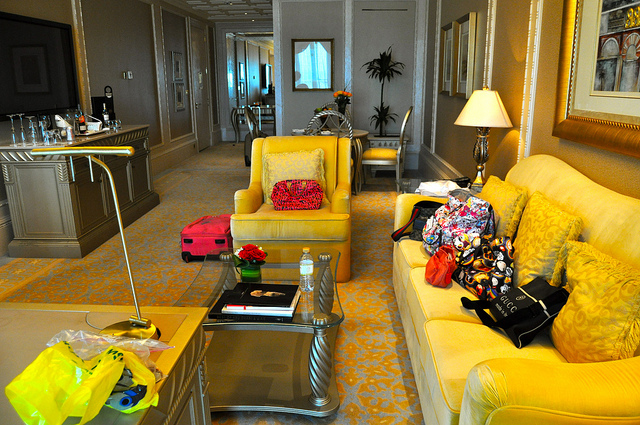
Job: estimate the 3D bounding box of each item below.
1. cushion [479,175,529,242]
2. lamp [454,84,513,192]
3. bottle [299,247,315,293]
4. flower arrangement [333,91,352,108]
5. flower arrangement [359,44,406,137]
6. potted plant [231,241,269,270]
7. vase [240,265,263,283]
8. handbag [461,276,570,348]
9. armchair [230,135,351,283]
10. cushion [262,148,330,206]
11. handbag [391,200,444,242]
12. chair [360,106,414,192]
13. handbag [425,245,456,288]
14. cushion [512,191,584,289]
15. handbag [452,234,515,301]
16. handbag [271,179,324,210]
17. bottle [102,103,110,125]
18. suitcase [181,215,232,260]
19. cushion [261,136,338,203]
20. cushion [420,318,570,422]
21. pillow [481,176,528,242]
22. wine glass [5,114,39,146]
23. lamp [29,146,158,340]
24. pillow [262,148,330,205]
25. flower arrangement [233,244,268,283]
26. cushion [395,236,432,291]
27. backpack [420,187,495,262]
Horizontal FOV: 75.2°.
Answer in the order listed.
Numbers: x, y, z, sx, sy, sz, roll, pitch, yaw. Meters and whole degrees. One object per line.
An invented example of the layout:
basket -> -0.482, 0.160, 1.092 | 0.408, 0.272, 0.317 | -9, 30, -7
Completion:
cushion -> 1.268, -0.056, 2.959 | 0.172, 0.366, 0.459 | -3, 23, -5
lamp -> 1.411, -0.632, 3.631 | 0.548, 0.912, 0.519 | 2, 7, -8
bottle -> -0.086, 0.373, 2.841 | 0.104, 0.200, 0.363 | 4, 13, -3
flower arrangement -> 0.365, -1.886, 6.917 | 0.255, 0.260, 0.258 | 0, 7, 8
flower arrangement -> 1.080, -2.224, 7.520 | 0.619, 1.589, 0.541 | 15, 17, 38
potted plant -> -0.464, 0.323, 2.871 | 0.265, 0.181, 0.212 | 0, 18, 44
vase -> -0.472, 0.421, 2.904 | 0.123, 0.124, 0.124 | 1, 14, 2
handbag -> 1.096, 0.501, 2.240 | 0.548, 0.140, 0.538 | -37, 20, -30
armchair -> -0.232, -0.086, 4.085 | 0.999, 1.298, 1.285 | 0, 11, 0
cushion -> -0.251, -0.435, 4.225 | 0.766, 0.691, 0.263 | 0, 21, 2
handbag -> 0.752, 0.059, 3.344 | 0.373, 0.346, 0.262 | 0, 22, -1
chair -> 1.019, -1.016, 6.586 | 0.797, 1.195, 0.718 | 1, 16, 8
handbag -> 0.771, 0.326, 2.660 | 0.094, 0.236, 0.188 | 20, -27, -16
cushion -> 1.331, 0.183, 2.495 | 0.256, 0.480, 0.530 | -1, 13, 10
handbag -> 1.009, 0.347, 2.557 | 0.162, 0.255, 0.300 | 17, 6, -15
handbag -> -0.211, -0.175, 4.000 | 0.334, 0.123, 0.329 | -1, 23, 0
bottle -> -2.824, -1.311, 5.478 | 0.072, 0.265, 0.513 | -2, 14, -26
suitcase -> -1.143, 0.313, 4.287 | 0.431, 0.296, 0.758 | 0, 11, 0
cushion -> -0.197, -0.412, 4.122 | 0.655, 0.617, 0.227 | 1, 10, 4
cushion -> 0.770, 0.725, 2.071 | 0.386, 0.205, 0.553 | 0, 18, 7
pillow -> 1.238, -0.016, 2.780 | 0.140, 0.327, 0.383 | -5, 13, 1
wine glass -> -3.161, -0.892, 4.396 | 0.305, 0.295, 0.798 | -5, 16, -34
lamp -> -1.037, 0.071, 1.957 | 0.483, 0.834, 1.127 | -5, 16, -34
pillow -> -0.237, -0.339, 4.070 | 0.554, 0.483, 0.192 | -1, -7, 3
flower arrangement -> -0.475, 0.334, 2.826 | 0.240, 0.242, 0.234 | 0, 6, -1
cushion -> 0.679, 0.305, 3.065 | 0.234, 0.212, 0.495 | 0, 19, 7
backpack -> 0.948, 0.149, 3.024 | 0.345, 0.571, 0.575 | 3, 6, -15
